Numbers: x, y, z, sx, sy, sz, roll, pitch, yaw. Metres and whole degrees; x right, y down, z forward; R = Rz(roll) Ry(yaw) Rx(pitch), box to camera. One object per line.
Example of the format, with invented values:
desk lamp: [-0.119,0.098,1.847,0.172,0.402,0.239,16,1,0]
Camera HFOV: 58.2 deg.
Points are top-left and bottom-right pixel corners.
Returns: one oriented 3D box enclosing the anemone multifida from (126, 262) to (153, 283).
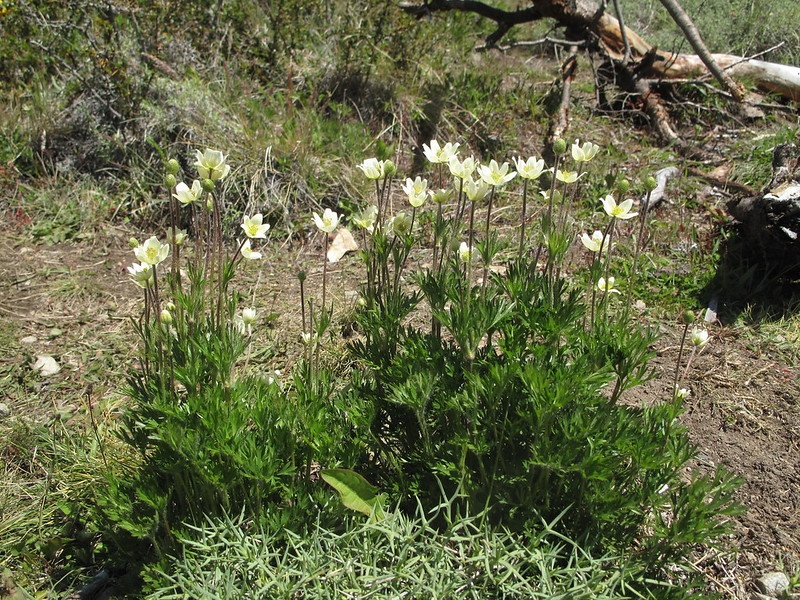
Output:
anemone multifida: [-1.200,-0.128,3.311,0.137,0.087,0.156,-3,10,-6]

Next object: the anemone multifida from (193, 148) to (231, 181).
anemone multifida: [-0.804,-0.590,3.084,0.121,0.164,0.279,-1,24,-13]
